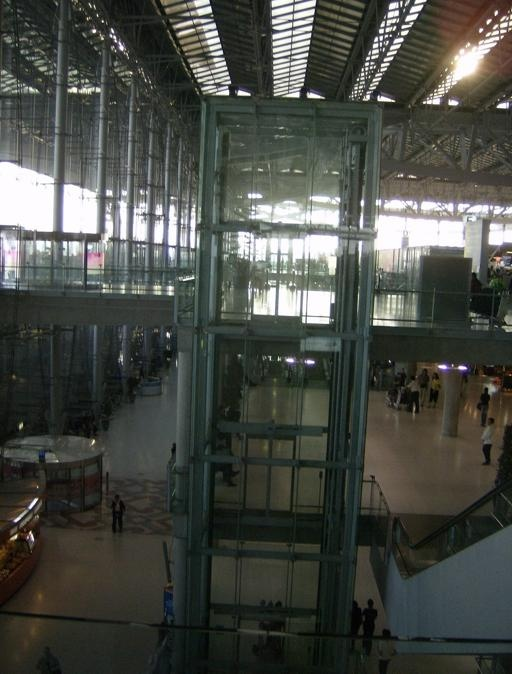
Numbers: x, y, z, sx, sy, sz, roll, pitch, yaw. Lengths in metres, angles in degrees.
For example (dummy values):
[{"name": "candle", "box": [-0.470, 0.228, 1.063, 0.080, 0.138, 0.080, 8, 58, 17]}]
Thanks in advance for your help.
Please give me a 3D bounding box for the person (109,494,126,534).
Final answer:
[{"name": "person", "box": [-3.097, 3.802, 14.917, 0.263, 0.855, 0.791, -1, 6, -13]}]
